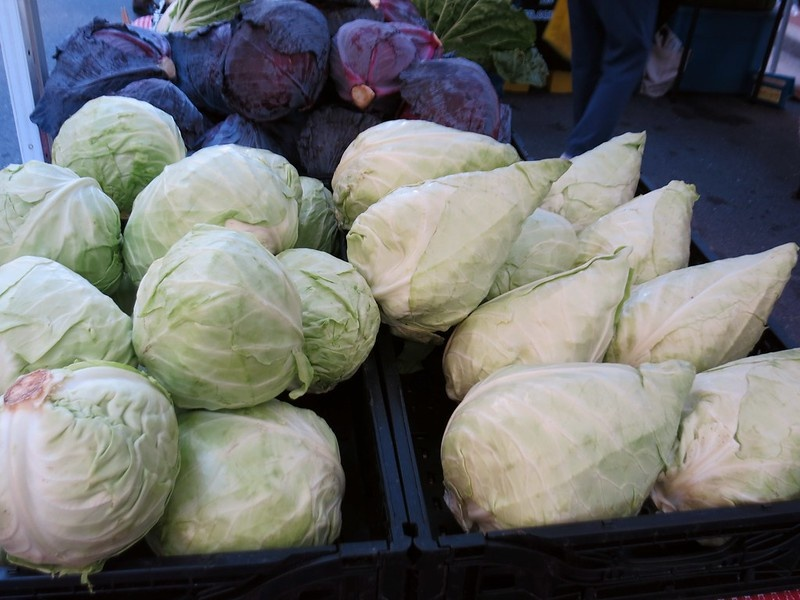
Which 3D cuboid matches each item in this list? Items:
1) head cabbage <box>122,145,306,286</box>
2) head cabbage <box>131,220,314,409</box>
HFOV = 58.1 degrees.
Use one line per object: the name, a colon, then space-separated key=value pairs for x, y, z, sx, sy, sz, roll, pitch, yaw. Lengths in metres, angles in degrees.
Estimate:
head cabbage: x=-0.627 y=-0.240 z=2.512 sx=0.528 sy=0.400 sz=0.430 roll=-26 pitch=55 yaw=-24
head cabbage: x=-0.492 y=0.085 z=2.182 sx=0.517 sy=0.506 sz=0.427 roll=13 pitch=-7 yaw=-20
